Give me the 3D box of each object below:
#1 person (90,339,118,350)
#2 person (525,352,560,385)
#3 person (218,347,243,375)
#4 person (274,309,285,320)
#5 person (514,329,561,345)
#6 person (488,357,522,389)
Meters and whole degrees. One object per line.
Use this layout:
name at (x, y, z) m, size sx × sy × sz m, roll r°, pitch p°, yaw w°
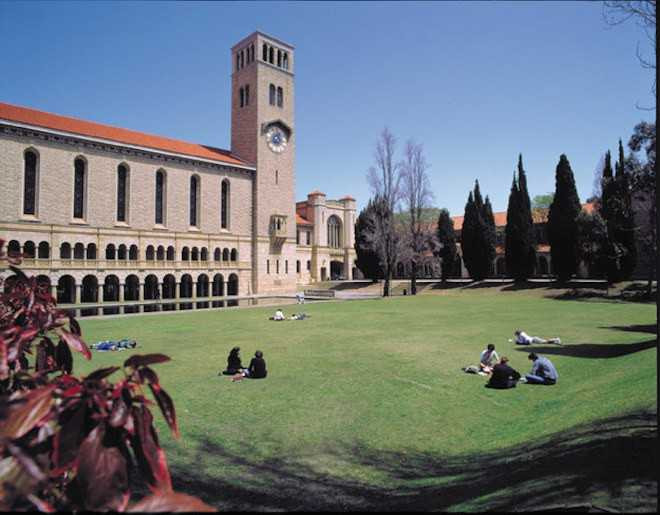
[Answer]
person at (-7.502, 2.930, 17.442) m, size 0.886 × 0.310 × 0.475 m, roll -4°, pitch -3°, yaw 8°
person at (5.438, 2.828, 13.564) m, size 0.886 × 0.814 × 0.721 m, roll 7°, pitch -11°, yaw -34°
person at (-2.664, 2.793, 14.233) m, size 0.610 × 0.712 × 0.516 m, roll -5°, pitch -4°, yaw 19°
person at (-2.683, 2.985, 27.524) m, size 0.539 × 0.395 × 1.324 m, roll 10°, pitch -4°, yaw -8°
person at (7.168, 2.845, 18.245) m, size 1.263 × 0.374 × 0.720 m, roll -1°, pitch -9°, yaw 19°
person at (4.261, 2.852, 13.024) m, size 0.879 × 0.732 × 0.401 m, roll -2°, pitch -4°, yaw -22°
